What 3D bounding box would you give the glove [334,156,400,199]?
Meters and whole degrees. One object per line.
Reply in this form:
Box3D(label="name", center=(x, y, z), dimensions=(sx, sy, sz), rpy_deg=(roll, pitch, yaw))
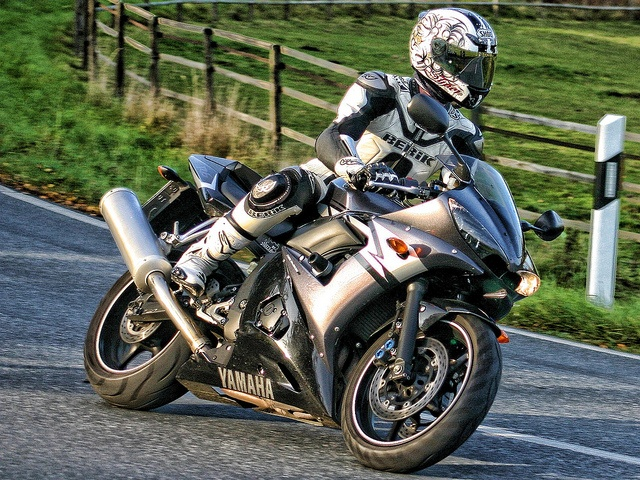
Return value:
Box3D(label="glove", center=(0.266, -0.369, 5.036), dimensions=(0.241, 0.204, 0.533), rpy_deg=(-2, 22, -28))
